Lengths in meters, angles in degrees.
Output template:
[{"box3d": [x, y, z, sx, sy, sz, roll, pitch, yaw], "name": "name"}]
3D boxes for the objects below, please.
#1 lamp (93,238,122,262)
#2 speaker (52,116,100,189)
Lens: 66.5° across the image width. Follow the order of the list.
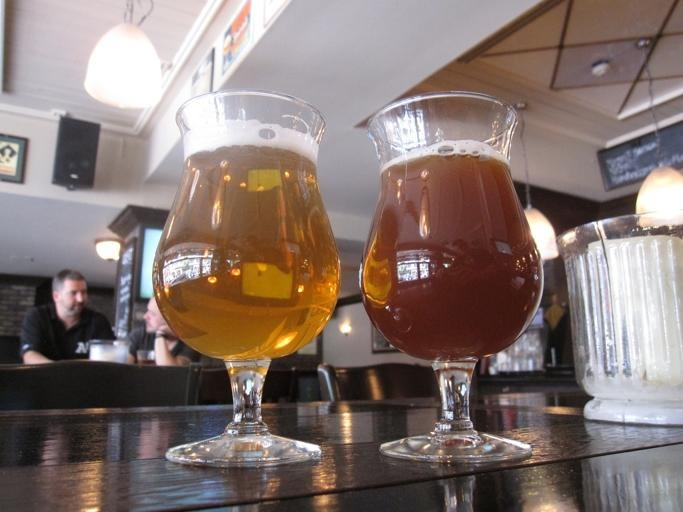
[{"box3d": [-2.769, -0.083, 6.291, 0.295, 0.210, 0.295, -8, -14, 30], "name": "lamp"}, {"box3d": [-2.479, -0.978, 4.898, 0.335, 0.615, 0.161, 5, -14, -20], "name": "speaker"}]
